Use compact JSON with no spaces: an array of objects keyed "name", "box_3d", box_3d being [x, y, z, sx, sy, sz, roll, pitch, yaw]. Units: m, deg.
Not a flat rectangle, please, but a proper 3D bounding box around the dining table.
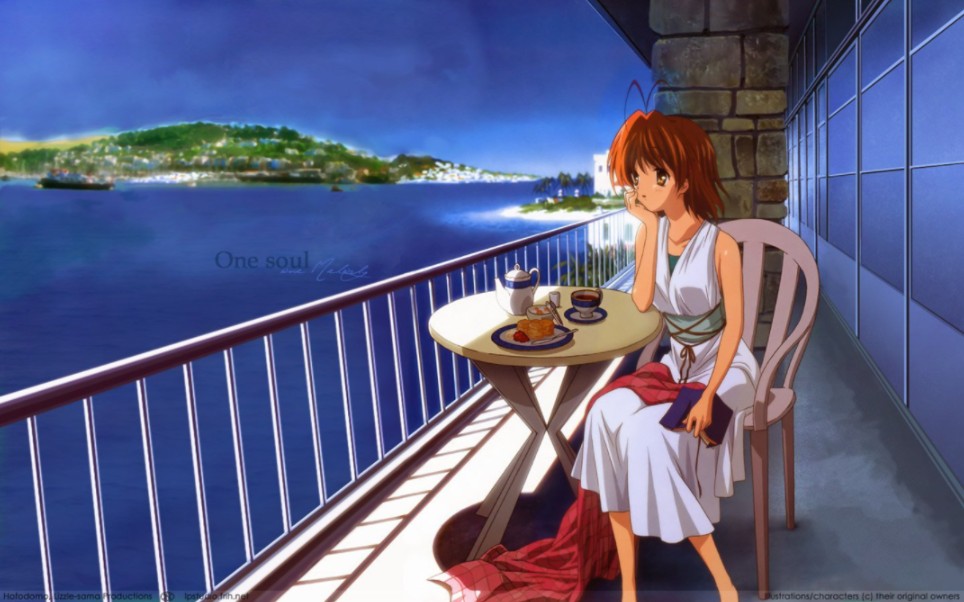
[{"name":"dining table","box_3d":[0.364,0.599,4.440,1.594,1.631,1.608,-2,7,-6]}]
